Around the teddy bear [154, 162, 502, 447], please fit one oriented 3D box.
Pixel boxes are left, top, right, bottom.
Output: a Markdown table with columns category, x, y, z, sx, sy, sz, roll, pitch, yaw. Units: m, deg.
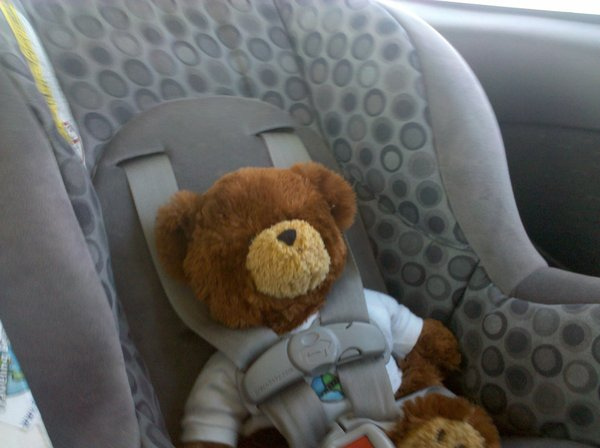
| category | x | y | z | sx | sy | sz | roll | pitch | yaw |
| --- | --- | --- | --- | --- | --- | --- | --- | --- | --- |
| teddy bear | 0.037 | 0.164 | 0.836 | 0.531 | 0.230 | 0.538 | -11 | 74 | -2 |
